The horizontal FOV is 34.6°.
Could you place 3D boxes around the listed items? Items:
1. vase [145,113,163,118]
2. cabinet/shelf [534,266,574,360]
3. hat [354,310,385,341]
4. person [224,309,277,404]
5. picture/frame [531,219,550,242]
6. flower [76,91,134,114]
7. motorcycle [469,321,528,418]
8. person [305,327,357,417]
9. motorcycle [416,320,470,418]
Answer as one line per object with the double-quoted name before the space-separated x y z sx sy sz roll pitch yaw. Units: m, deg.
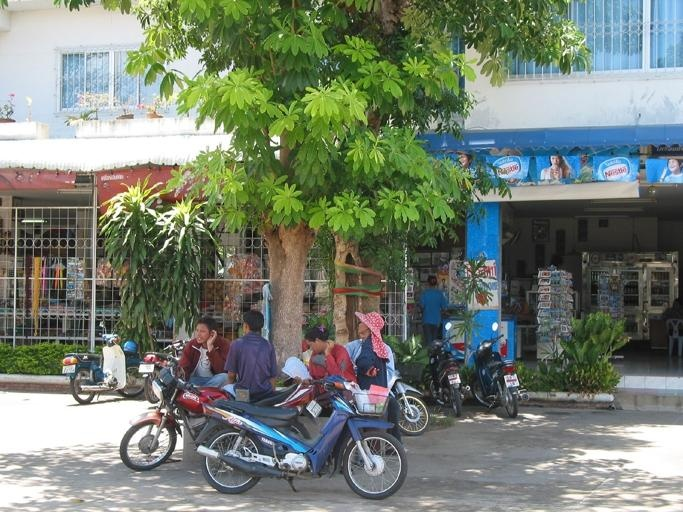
"vase" -4.092 -3.035 23.733 0.228 0.095 0.187 -1 2 0
"cabinet/shelf" 4.107 1.106 21.410 0.664 1.262 0.407 -2 17 5
"hat" 0.470 0.925 15.479 0.176 0.419 0.324 -41 9 -22
"person" -1.294 1.461 15.414 0.665 1.485 0.783 -1 12 -19
"picture/frame" 5.329 -0.665 29.413 0.489 0.538 0.526 1 1 10
"flower" -5.563 -3.512 25.415 0.726 0.456 1.001 0 1 12
"motorcycle" 2.653 2.003 18.751 0.621 1.461 1.805 -12 6 -13
"person" -0.178 1.686 15.335 0.696 0.741 1.388 4 7 -14
"motorcycle" 1.690 2.090 18.642 0.369 0.885 1.109 -10 1 -17
